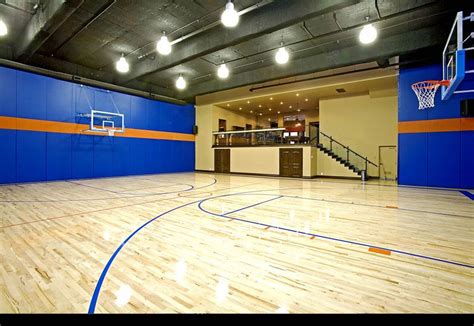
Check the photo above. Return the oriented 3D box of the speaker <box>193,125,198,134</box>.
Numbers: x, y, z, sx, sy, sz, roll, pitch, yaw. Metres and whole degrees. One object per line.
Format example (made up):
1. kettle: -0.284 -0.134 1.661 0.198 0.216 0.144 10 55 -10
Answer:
1. speaker: -2.768 -2.228 19.108 0.148 0.569 0.386 4 3 42
